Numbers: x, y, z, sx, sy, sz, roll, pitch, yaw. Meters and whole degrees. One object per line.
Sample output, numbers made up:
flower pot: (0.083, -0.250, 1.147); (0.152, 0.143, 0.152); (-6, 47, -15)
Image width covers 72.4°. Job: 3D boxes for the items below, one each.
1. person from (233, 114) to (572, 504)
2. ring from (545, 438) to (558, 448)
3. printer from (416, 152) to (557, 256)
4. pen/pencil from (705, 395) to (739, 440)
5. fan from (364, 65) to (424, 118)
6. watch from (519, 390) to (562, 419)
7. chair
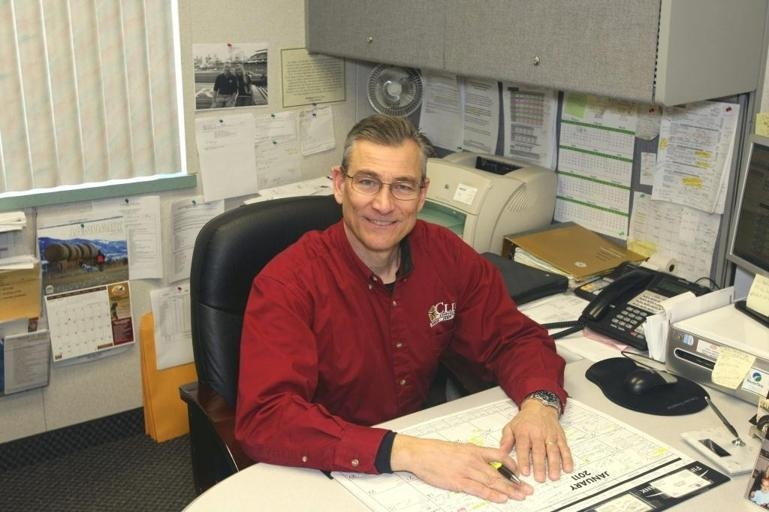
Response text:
person: (0.017, 0.096, 1.556); (0.919, 0.925, 0.983); (-9, 14, -30)
ring: (0.406, 0.452, 1.266); (0.017, 0.007, 0.023); (-1, 12, 8)
printer: (0.447, -0.225, 2.443); (0.490, 0.458, 0.526); (-9, 22, -32)
pen/pencil: (0.875, 0.422, 1.366); (0.015, 0.019, 0.133); (28, 22, -24)
fan: (0.043, -0.815, 2.646); (0.268, 0.270, 0.081); (34, 12, -6)
watch: (0.436, 0.382, 1.386); (0.060, 0.073, 0.037); (10, 18, 5)
chair: (-0.365, 0.206, 1.630); (0.494, 0.833, 0.473); (-8, 18, -27)
